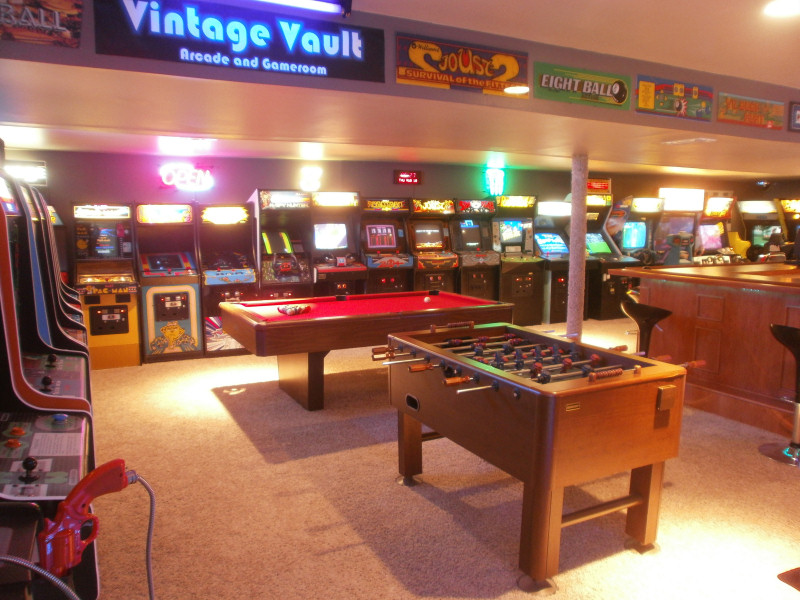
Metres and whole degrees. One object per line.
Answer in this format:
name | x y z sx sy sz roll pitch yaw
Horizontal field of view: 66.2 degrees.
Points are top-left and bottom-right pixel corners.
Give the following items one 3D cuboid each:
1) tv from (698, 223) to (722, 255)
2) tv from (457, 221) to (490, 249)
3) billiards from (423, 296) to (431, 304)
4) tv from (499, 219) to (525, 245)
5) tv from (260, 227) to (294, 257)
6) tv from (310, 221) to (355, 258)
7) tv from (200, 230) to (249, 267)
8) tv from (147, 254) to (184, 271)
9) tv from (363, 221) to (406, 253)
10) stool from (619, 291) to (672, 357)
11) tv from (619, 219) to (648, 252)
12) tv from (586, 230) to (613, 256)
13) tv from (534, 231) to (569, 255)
tv | 5.577 -1.132 11.099 0.628 0.510 0.324 -2 3 -32
tv | 1.037 -0.959 8.913 0.409 0.348 0.223 -2 -8 -26
billiards | 0.261 -0.010 6.229 0.056 0.041 0.055 6 23 9
tv | 1.632 -1.025 9.107 0.425 0.286 0.057 -2 0 -36
tv | -1.515 -0.728 7.525 0.395 0.323 0.329 -7 11 -15
tv | -0.896 -0.771 8.074 0.726 0.576 0.375 -1 1 -30
tv | -2.067 -0.652 7.273 0.593 0.474 0.233 -7 11 -18
tv | -2.656 -0.451 6.935 0.360 0.177 0.280 -8 11 -22
tv | -0.245 -0.835 8.431 0.740 0.501 0.381 0 -5 -21
stool | 2.336 0.223 5.800 0.348 0.814 0.426 -23 29 -25
tv | 3.789 -1.081 10.045 0.562 0.728 0.102 6 -6 -19
tv | 3.144 -0.910 9.663 0.389 0.356 0.677 0 11 19
tv | 2.288 -0.879 9.169 0.574 0.328 0.672 -5 10 -8
